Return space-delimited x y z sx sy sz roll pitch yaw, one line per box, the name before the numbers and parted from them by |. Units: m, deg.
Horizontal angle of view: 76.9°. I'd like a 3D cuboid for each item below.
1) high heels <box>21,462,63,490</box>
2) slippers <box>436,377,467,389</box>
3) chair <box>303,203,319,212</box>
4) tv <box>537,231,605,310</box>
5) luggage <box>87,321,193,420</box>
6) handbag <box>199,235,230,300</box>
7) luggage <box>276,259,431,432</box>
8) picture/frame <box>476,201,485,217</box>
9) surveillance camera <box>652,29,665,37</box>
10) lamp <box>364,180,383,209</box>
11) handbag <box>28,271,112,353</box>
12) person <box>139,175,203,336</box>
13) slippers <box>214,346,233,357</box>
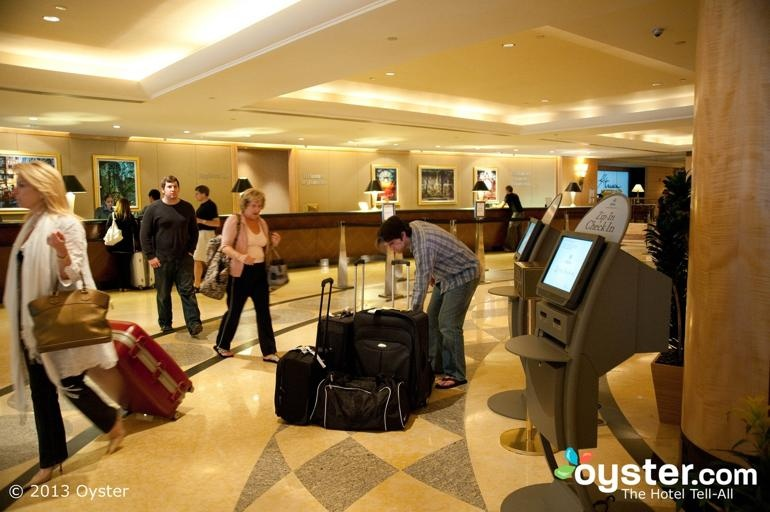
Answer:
high heels | -2.430 1.568 3.541 0.107 0.147 0.352 -8 -4 16
slippers | 0.645 1.216 4.784 0.277 0.092 0.119 2 -3 -16
chair | -2.120 -1.460 14.249 0.282 0.204 0.287 -1 -3 21
tv | 1.118 0.069 2.978 0.269 0.451 0.387 -4 10 -16
luggage | -2.060 0.989 4.093 0.671 0.341 1.031 36 -36 -24
handbag | -1.895 0.141 5.397 0.300 0.775 0.536 -5 10 -21
luggage | -0.312 0.712 4.448 1.302 1.256 1.295 -3 4 -41
picture/frame | 2.024 -1.027 10.446 0.161 0.349 0.430 0 9 6
surveillance camera | 3.394 -2.799 6.063 0.103 0.041 0.102 -9 -24 -23
lamp | -0.303 -1.980 15.059 0.554 0.936 1.375 -2 9 -1
handbag | -2.105 0.372 3.223 0.493 0.463 0.204 -9 -3 -25
person | -2.876 -0.025 6.568 0.688 2.103 0.995 -5 10 -22
slippers | -1.879 1.105 5.676 0.262 0.103 0.069 11 12 15
